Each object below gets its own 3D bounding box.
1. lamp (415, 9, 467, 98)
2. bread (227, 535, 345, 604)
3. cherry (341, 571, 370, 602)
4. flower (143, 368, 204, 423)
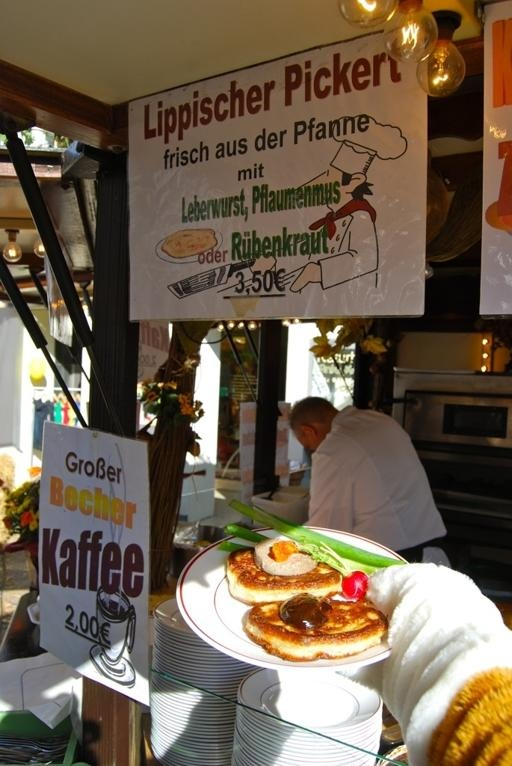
[{"bbox_3d":[0.265,-0.462,0.835,0.060,0.104,0.060,-15,22,-36],"label":"lamp"},{"bbox_3d":[0.048,0.323,0.984,0.200,0.056,0.199,0,1,32],"label":"bread"},{"bbox_3d":[0.146,0.300,0.866,0.033,0.034,0.033,-14,-33,20],"label":"cherry"},{"bbox_3d":[-0.280,0.054,2.063,0.164,0.180,0.124,-2,-19,11],"label":"flower"}]
